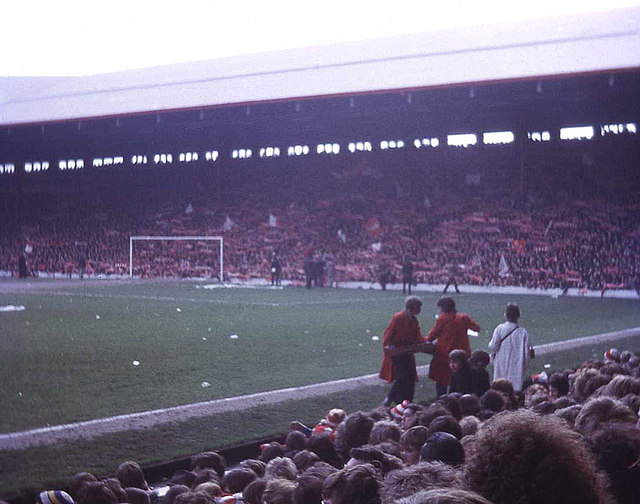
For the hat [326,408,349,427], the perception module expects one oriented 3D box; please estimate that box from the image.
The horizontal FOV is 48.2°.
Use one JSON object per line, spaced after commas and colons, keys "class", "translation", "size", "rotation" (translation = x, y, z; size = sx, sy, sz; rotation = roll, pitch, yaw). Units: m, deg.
{"class": "hat", "translation": [0.149, 1.514, 6.590], "size": [0.134, 0.133, 0.172], "rotation": [5, 13, 22]}
